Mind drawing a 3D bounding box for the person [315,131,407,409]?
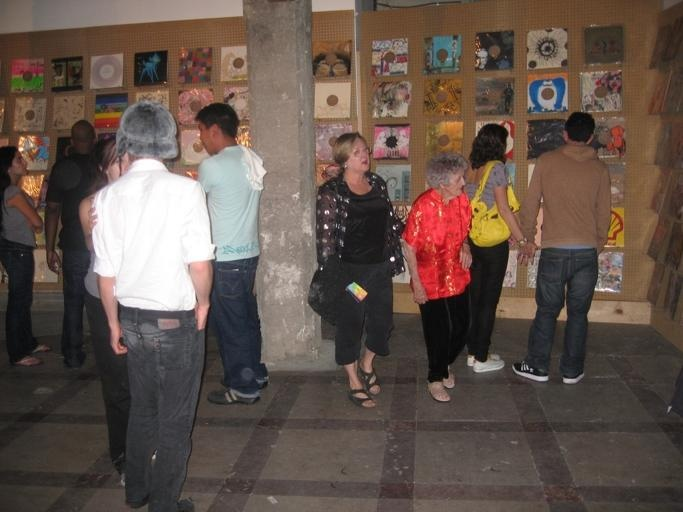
[{"bbox_3d":[0.131,-0.047,4.978,0.821,1.915,0.442,-3,15,-6],"label":"person"}]

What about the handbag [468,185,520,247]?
[{"bbox_3d":[1.386,-0.364,5.432,0.504,0.669,0.364,-2,-7,-8],"label":"handbag"}]

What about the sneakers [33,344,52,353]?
[{"bbox_3d":[-3.277,1.034,6.517,0.181,0.075,0.063,-8,59,-26],"label":"sneakers"}]

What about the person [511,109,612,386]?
[{"bbox_3d":[2.013,-0.053,5.397,0.757,2.414,0.639,5,16,24],"label":"person"}]

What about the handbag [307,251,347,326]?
[{"bbox_3d":[-0.113,0.275,4.983,0.307,0.530,0.125,20,24,19],"label":"handbag"}]

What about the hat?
[{"bbox_3d":[-1.143,-0.745,3.527,0.332,0.289,0.361,-4,33,-20],"label":"hat"}]

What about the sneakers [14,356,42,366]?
[{"bbox_3d":[-3.219,1.094,6.133,0.208,0.057,0.104,1,35,-3],"label":"sneakers"}]

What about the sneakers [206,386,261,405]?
[{"bbox_3d":[-0.936,1.239,5.211,0.455,0.145,0.170,7,3,3],"label":"sneakers"}]

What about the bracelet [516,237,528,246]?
[{"bbox_3d":[1.693,-0.131,5.552,0.071,0.055,0.095,-1,-7,6],"label":"bracelet"}]

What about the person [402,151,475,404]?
[{"bbox_3d":[0.810,0.216,4.995,0.563,2.113,0.328,-1,15,4],"label":"person"}]
